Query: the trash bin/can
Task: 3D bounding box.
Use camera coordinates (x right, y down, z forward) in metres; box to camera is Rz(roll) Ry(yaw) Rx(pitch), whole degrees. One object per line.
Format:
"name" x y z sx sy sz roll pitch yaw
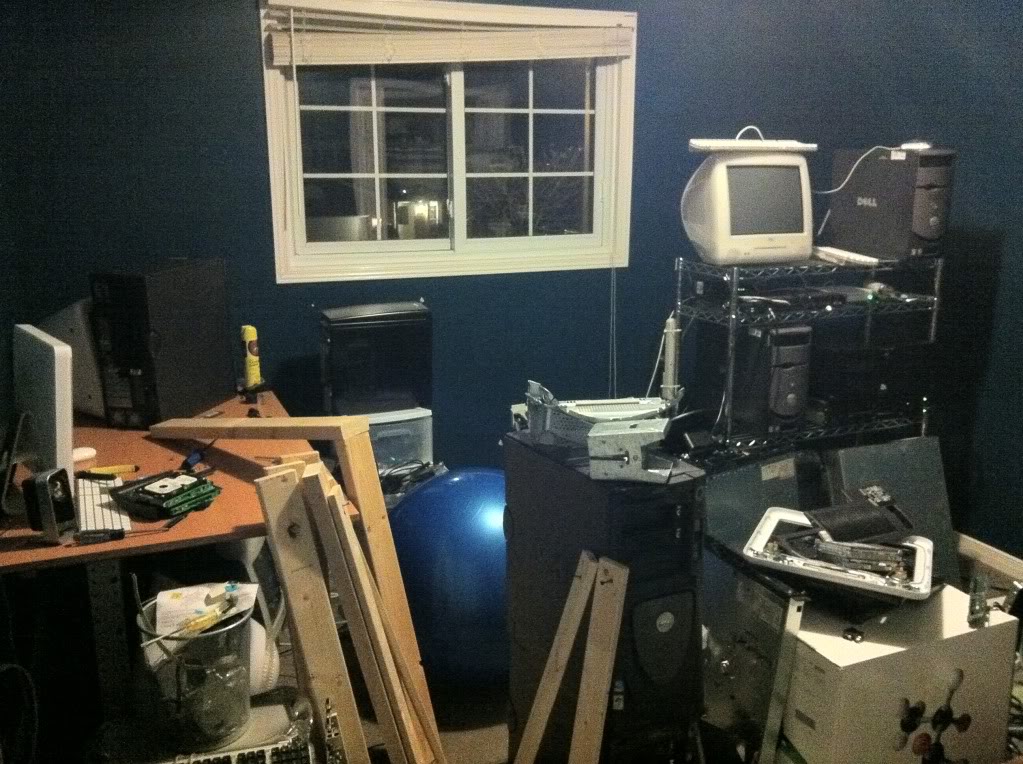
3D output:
"trash bin/can" -1.018 0.943 3.071 0.427 0.460 0.447 -2 7 -21

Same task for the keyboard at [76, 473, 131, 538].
"keyboard" -1.349 0.399 2.948 0.142 0.018 0.417 8 13 -28

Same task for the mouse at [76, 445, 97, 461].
"mouse" -1.518 0.248 3.200 0.064 0.037 0.048 -5 21 -22

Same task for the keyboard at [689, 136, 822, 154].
"keyboard" 1.019 -0.994 3.788 0.556 0.059 0.158 -8 10 -26

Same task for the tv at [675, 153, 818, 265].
"tv" 0.969 -0.688 3.989 0.656 0.547 0.461 -4 14 -18

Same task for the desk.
"desk" -1.148 0.497 3.173 1.256 0.768 1.598 -3 13 -12
